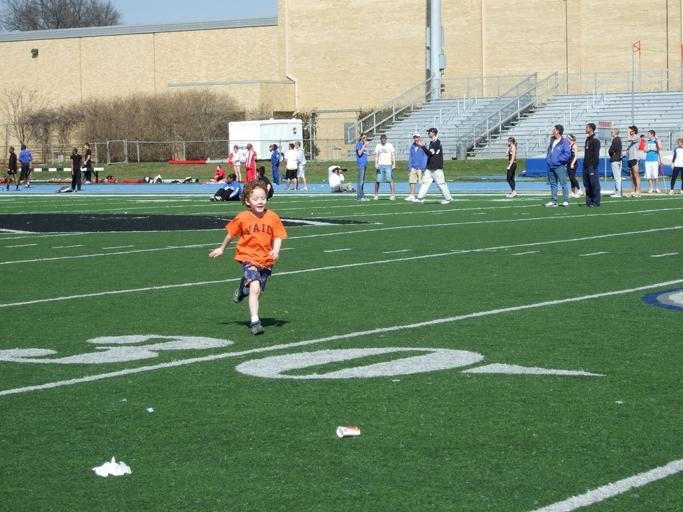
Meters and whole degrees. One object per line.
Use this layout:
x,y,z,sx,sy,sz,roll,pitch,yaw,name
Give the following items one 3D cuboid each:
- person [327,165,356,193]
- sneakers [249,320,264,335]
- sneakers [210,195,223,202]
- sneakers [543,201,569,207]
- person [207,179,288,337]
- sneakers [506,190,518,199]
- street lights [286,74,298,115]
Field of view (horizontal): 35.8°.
-0.009,-2.510,34.764,0.754,0.884,1.376,-2,7,2,person
-0.779,0.662,9.692,0.143,0.126,0.339,-2,-3,-11,sneakers
-3.489,-1.574,29.407,0.142,0.146,0.352,-8,6,-44,sneakers
5.015,-1.186,24.504,0.646,0.217,0.198,2,2,-3,sneakers
-0.796,0.030,9.526,0.582,1.403,0.368,-2,7,2,person
4.640,-1.652,28.743,0.217,0.215,0.547,-3,8,-16,sneakers
-3.111,-10.390,67.459,0.661,2.346,0.532,-3,7,-2,street lights
